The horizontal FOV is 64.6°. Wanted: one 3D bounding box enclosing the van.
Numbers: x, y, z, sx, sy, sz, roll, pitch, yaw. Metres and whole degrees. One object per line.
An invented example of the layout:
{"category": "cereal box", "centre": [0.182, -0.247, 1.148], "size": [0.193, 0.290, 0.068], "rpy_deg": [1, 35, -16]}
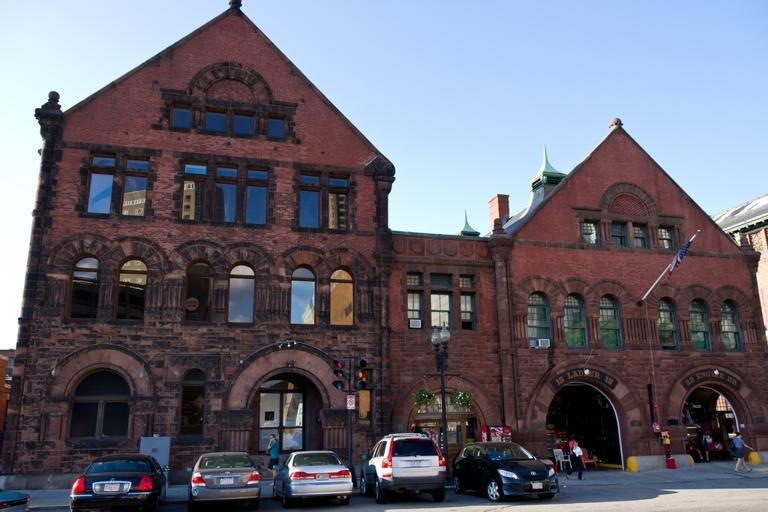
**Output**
{"category": "van", "centre": [0.810, 8.260, 23.948], "size": [2.083, 1.854, 3.901], "rpy_deg": [3, -16, -9]}

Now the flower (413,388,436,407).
{"category": "flower", "centre": [2.096, 7.405, 31.751], "size": [0.943, 0.726, 0.906], "rpy_deg": [2, -13, -10]}

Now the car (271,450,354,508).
{"category": "car", "centre": [-2.725, 8.665, 23.761], "size": [2.794, 2.000, 1.835], "rpy_deg": [1, -16, -4]}

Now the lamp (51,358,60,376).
{"category": "lamp", "centre": [-15.523, 5.316, 28.873], "size": [0.370, 0.778, 0.184], "rpy_deg": [8, -18, -26]}

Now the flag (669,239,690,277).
{"category": "flag", "centre": [17.542, 0.011, 36.251], "size": [1.129, 1.774, 2.575], "rpy_deg": [-8, -18, 25]}

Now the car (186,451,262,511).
{"category": "car", "centre": [-5.876, 8.415, 22.680], "size": [2.464, 2.016, 1.512], "rpy_deg": [2, -16, -9]}

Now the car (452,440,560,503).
{"category": "car", "centre": [4.773, 8.838, 25.165], "size": [2.071, 2.146, 3.982], "rpy_deg": [10, -19, -33]}

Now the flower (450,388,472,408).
{"category": "flower", "centre": [3.982, 7.497, 32.064], "size": [1.089, 0.843, 1.149], "rpy_deg": [-3, -10, 26]}
